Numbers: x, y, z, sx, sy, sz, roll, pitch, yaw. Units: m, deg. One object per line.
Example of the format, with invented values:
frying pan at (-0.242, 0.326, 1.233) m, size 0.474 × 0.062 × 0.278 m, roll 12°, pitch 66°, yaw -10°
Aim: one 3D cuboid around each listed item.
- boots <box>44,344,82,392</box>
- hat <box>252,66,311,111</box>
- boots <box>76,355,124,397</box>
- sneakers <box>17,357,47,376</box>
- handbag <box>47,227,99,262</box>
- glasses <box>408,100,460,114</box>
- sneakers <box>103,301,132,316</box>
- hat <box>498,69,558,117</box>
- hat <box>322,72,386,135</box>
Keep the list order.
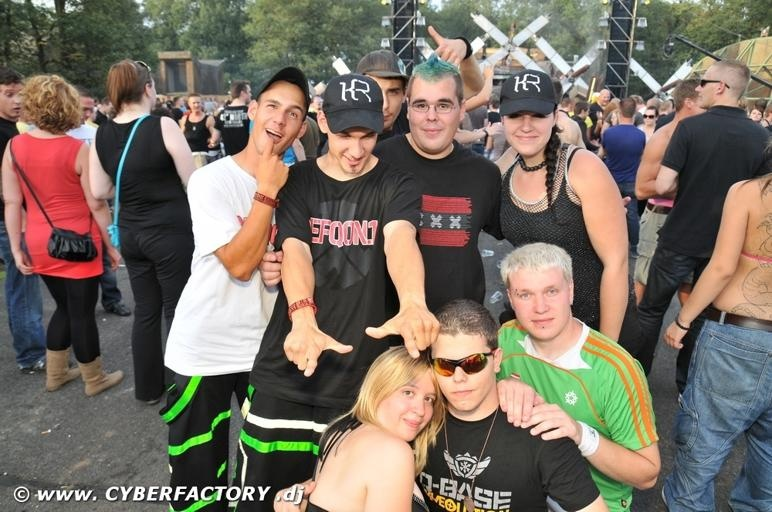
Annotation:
boots at (-3.679, 1.237, 6.974) m, size 0.188 × 0.412 × 0.515 m, roll 4°, pitch 8°, yaw 13°
hat at (-0.884, -1.284, 4.598) m, size 0.390 × 0.273 × 0.632 m, roll -3°, pitch 30°, yaw -17°
boots at (-3.217, 1.352, 6.825) m, size 0.198 × 0.411 × 0.428 m, roll 25°, pitch 40°, yaw 38°
sneakers at (-4.119, 1.298, 7.140) m, size 0.381 × 0.171 × 0.125 m, roll 5°, pitch -4°, yaw -33°
handbag at (-3.324, -0.107, 6.420) m, size 0.310 × 0.302 × 0.151 m, roll 9°, pitch -18°, yaw -36°
glasses at (0.364, -1.178, 4.880) m, size 0.363 × 0.093 × 0.073 m, roll 3°, pitch 20°, yaw 5°
sneakers at (-3.724, 0.728, 8.496) m, size 0.381 × 0.157 × 0.195 m, roll 1°, pitch 30°, yaw 7°
hat at (1.163, -1.319, 5.015) m, size 0.458 × 0.344 × 0.306 m, roll 5°, pitch 21°, yaw 10°
hat at (-0.246, -1.081, 4.376) m, size 0.430 × 0.376 × 0.311 m, roll -1°, pitch 20°, yaw -5°
